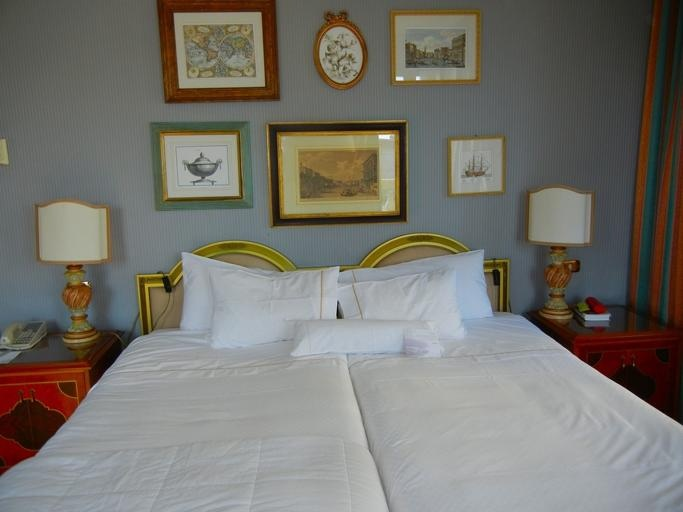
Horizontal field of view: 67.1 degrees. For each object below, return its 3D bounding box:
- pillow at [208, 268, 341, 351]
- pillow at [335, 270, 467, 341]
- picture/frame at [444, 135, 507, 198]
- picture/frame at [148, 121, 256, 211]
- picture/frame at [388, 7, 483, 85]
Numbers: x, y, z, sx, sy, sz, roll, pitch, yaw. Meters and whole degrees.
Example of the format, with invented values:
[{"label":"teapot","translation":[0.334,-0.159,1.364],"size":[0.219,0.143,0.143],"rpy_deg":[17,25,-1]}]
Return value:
[{"label":"pillow","translation":[-0.379,0.341,3.090],"size":[0.795,0.540,0.260],"rpy_deg":[0,-8,-5]},{"label":"pillow","translation":[0.355,0.273,3.131],"size":[0.744,0.496,0.232],"rpy_deg":[-1,15,10]},{"label":"picture/frame","translation":[0.886,-0.624,3.458],"size":[0.376,0.393,0.016],"rpy_deg":[-2,10,-7]},{"label":"picture/frame","translation":[-0.932,-0.605,3.321],"size":[0.533,0.553,0.040],"rpy_deg":[-1,10,-2]},{"label":"picture/frame","translation":[0.589,-1.392,3.351],"size":[0.457,0.370,0.019],"rpy_deg":[-1,6,-5]}]
